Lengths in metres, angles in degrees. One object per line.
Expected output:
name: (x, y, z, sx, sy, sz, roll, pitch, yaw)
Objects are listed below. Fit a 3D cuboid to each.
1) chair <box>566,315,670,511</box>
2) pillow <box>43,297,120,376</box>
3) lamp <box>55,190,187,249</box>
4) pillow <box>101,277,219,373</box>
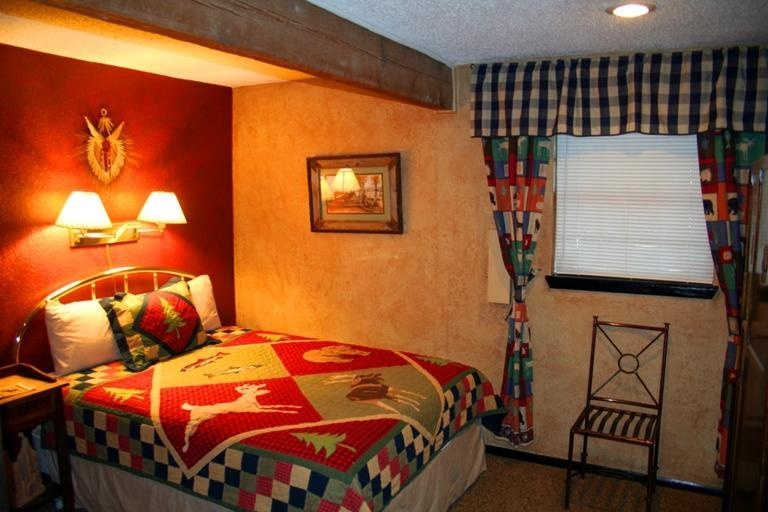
chair: (1.843, 1.247, 4.408, 0.751, 1.429, 0.718, 2, 9, 25)
pillow: (-2.521, 0.677, 4.614, 0.308, 0.580, 0.767, 0, -5, 12)
lamp: (-2.271, -0.313, 4.776, 0.437, 0.485, 1.150, 11, 11, 29)
pillow: (-2.010, 0.615, 4.803, 0.747, 1.059, 0.329, 10, -34, -40)
